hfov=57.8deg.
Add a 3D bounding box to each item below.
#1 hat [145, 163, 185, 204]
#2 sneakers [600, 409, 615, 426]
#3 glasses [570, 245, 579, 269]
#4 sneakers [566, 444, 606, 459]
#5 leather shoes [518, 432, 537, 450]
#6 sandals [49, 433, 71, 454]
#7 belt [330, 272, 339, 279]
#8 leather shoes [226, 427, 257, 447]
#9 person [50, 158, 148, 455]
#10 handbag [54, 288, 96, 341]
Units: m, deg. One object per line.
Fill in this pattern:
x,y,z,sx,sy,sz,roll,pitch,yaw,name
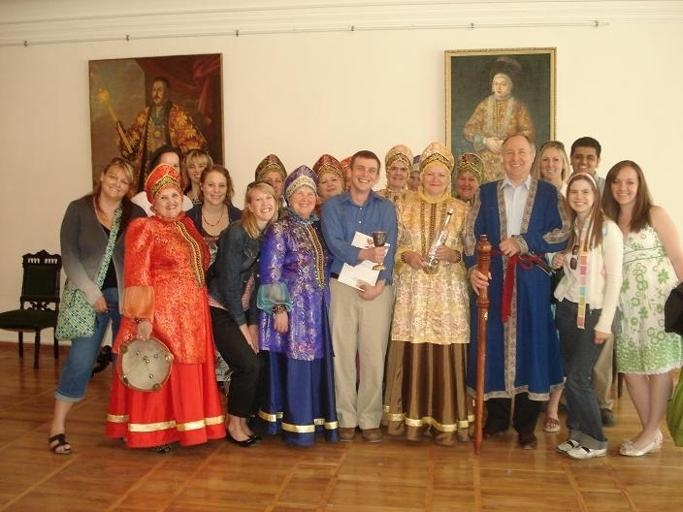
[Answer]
-1.364,-0.556,4.682,0.267,0.290,0.182,-2,11,-5,hat
2.201,1.338,5.146,0.098,0.125,0.279,-4,-7,10,sneakers
1.710,0.023,4.589,0.046,0.138,0.082,0,5,-2,glasses
1.803,1.450,4.551,0.245,0.077,0.106,1,-1,0,sneakers
1.411,1.412,4.766,0.168,0.087,0.150,7,13,33,leather shoes
-2.172,1.419,4.747,0.144,0.122,0.257,-7,12,-29,sandals
-0.064,0.145,4.911,0.043,0.059,0.022,3,45,5,belt
-0.785,1.411,4.808,0.195,0.081,0.112,-2,-7,14,leather shoes
-1.938,0.351,4.814,0.848,2.190,0.490,-7,13,-27,person
-2.027,0.432,4.707,0.327,0.413,0.182,5,13,28,handbag
